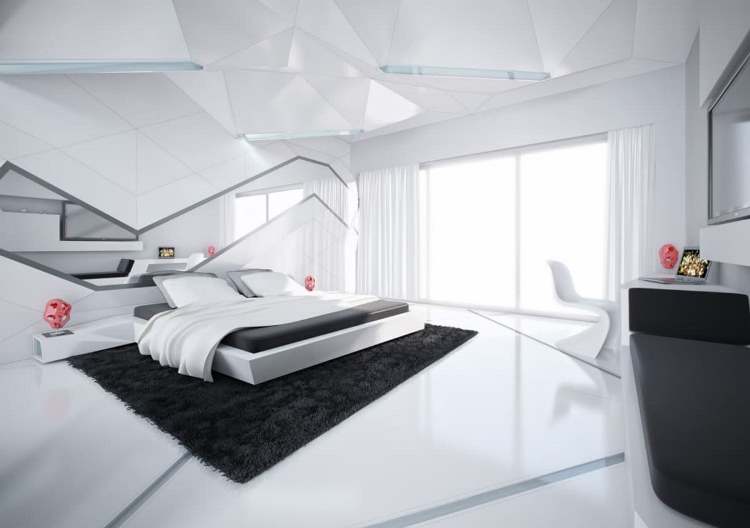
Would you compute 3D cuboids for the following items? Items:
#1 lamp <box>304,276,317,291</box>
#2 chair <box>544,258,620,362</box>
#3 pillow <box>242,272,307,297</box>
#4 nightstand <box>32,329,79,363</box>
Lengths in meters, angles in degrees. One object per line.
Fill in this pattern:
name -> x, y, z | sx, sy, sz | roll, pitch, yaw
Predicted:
lamp -> -1.055, 0.301, 6.915 | 0.066, 0.276, 0.237 | 2, 1, 36
chair -> 2.228, 0.443, 4.650 | 0.698, 0.902, 0.632 | 4, 9, 38
pillow -> -1.360, 0.240, 5.558 | 0.479, 0.137, 0.443 | 2, 21, -41
nightstand -> -3.207, 0.793, 4.342 | 0.251, 0.312, 0.459 | 1, 1, 30
